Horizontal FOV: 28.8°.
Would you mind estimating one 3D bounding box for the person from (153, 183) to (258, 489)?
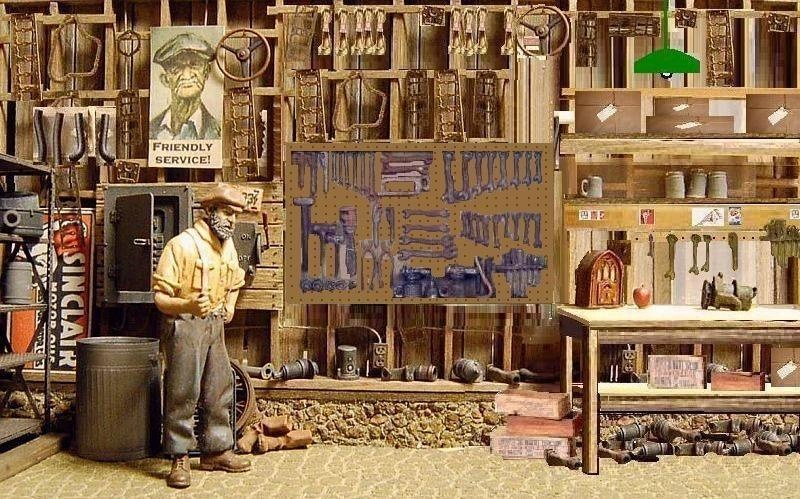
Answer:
[{"bbox_3d":[-2.004,0.862,15.703,0.941,3.029,0.482,-1,4,-11],"label":"person"}]
